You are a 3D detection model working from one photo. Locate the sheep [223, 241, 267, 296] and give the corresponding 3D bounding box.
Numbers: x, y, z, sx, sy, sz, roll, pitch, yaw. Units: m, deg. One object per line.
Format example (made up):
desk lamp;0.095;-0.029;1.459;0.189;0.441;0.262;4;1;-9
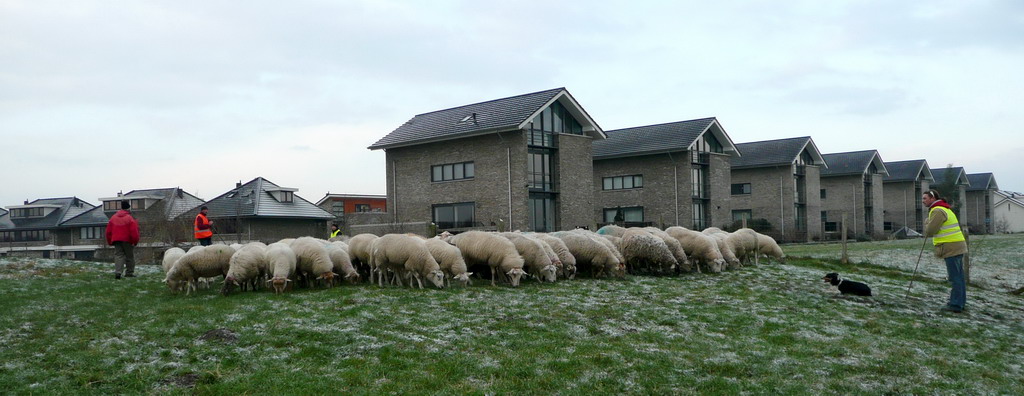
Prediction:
sheep;-14.552;3.817;38.636;2.183;2.577;0.984;-1;3;-18
